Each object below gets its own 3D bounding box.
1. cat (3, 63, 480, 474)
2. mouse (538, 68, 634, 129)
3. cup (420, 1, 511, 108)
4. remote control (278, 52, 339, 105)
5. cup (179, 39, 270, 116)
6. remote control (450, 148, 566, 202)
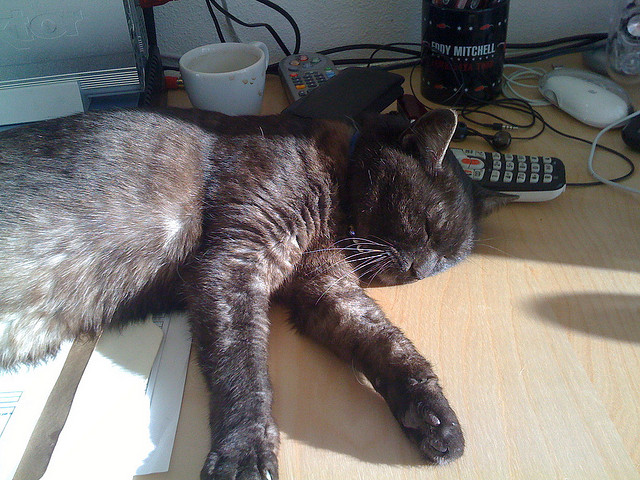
[{"bbox_3d":[-0.110,-0.046,0.851,0.736,0.246,0.718,5,46,9],"label":"cat"},{"bbox_3d":[0.558,-0.302,1.134,0.104,0.056,0.207,-27,50,-21],"label":"mouse"},{"bbox_3d":[0.292,-0.378,1.099,0.152,0.253,0.154,-3,47,3],"label":"cup"},{"bbox_3d":[-0.023,-0.356,1.184,0.119,0.035,0.168,-13,47,-9],"label":"remote control"},{"bbox_3d":[-0.182,-0.310,1.073,0.147,0.130,0.174,24,48,29],"label":"cup"},{"bbox_3d":[0.347,-0.109,1.000,0.222,0.048,0.096,4,55,3],"label":"remote control"}]
